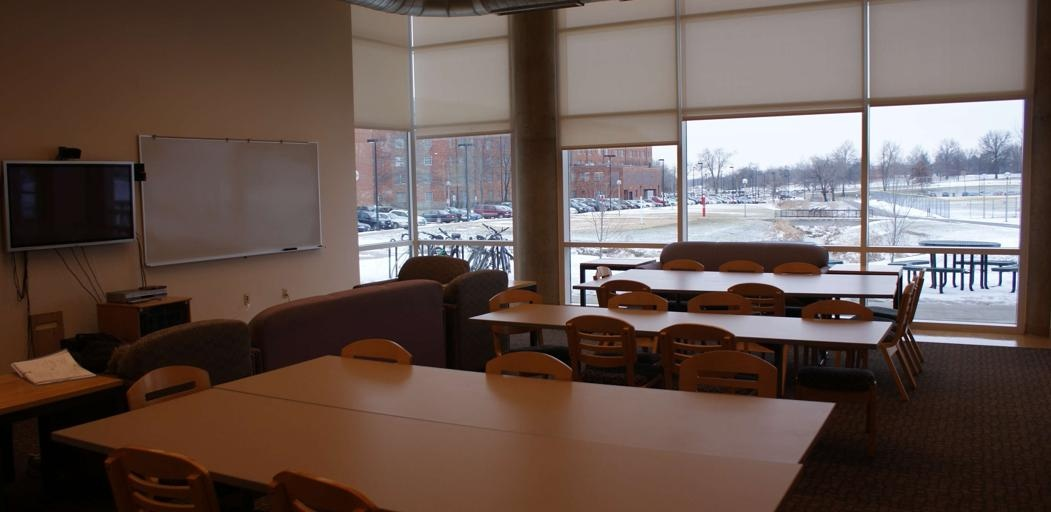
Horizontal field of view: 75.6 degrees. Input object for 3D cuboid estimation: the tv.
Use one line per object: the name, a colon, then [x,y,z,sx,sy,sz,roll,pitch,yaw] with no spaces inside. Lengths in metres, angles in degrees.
tv: [-7.375,-0.857,10.927,1.771,1.369,0.216,-7,11,-36]

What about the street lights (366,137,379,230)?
street lights: [-3.426,-1.772,15.376,0.097,1.808,0.252,6,11,33]

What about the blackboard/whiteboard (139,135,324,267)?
blackboard/whiteboard: [-5.550,-1.070,12.326,2.694,2.214,0.661,-5,10,-27]

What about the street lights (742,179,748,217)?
street lights: [4.552,-1.222,13.986,0.102,0.785,0.053,0,10,4]

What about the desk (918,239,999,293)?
desk: [8.438,0.115,13.166,1.565,0.894,0.955,-1,-3,31]

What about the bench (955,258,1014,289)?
bench: [8.765,0.170,12.831,0.971,0.537,0.652,3,11,29]

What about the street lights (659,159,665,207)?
street lights: [2.886,-1.671,14.375,0.111,0.846,0.060,2,10,16]
